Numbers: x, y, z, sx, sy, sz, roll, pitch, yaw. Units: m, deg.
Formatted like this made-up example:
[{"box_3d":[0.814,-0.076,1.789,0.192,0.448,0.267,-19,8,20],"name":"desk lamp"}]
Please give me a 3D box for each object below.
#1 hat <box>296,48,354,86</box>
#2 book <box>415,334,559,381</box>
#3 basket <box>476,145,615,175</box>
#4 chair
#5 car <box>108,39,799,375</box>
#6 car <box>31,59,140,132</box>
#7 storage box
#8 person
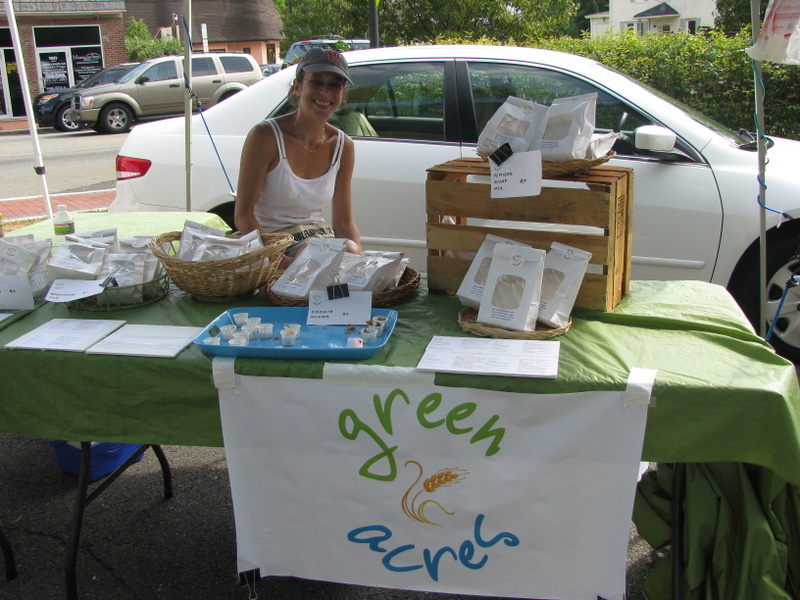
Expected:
[{"box_3d":[-0.357,-1.100,2.950,0.238,0.164,0.233,-4,23,-9],"name":"hat"},{"box_3d":[0.297,0.181,2.078,0.448,0.032,0.245,3,23,9],"name":"book"},{"box_3d":[0.574,-0.509,2.293,0.482,0.122,0.204,-6,23,-14],"name":"basket"},{"box_3d":[0.125,-1.235,4.323,0.974,0.463,0.563,-4,2,10],"name":"chair"},{"box_3d":[0.265,-0.690,4.604,4.590,1.467,1.961,-1,3,5],"name":"car"},{"box_3d":[-8.970,-5.581,17.209,3.398,1.513,1.539,-4,15,-17],"name":"car"},{"box_3d":[0.507,-0.293,2.553,0.762,0.512,0.401,8,22,28],"name":"storage box"},{"box_3d":[-0.441,-0.692,3.085,0.671,1.053,0.734,-2,19,-33],"name":"person"}]
